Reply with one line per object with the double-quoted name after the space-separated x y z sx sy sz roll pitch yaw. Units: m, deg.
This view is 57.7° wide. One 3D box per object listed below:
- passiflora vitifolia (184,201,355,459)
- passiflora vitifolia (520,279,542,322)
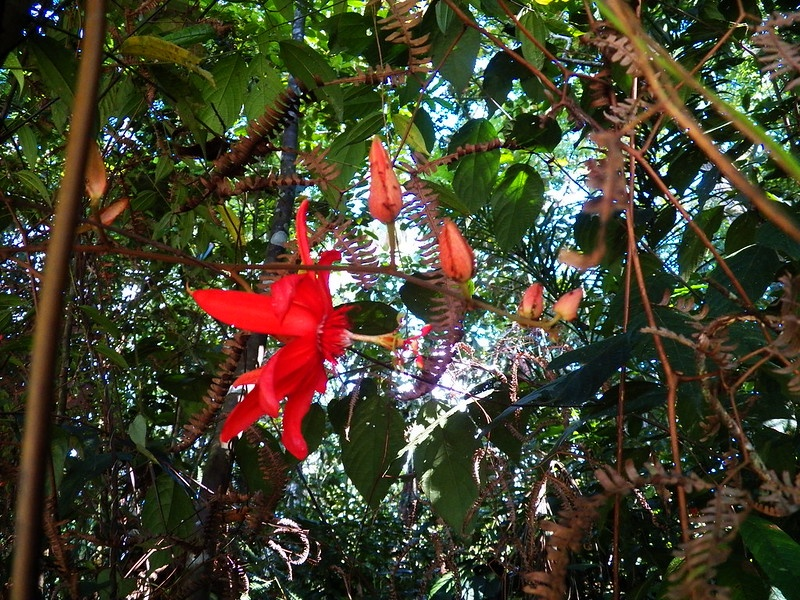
-0.176 0.041 1.062 0.219 0.397 0.247 6 -45 2 "passiflora vitifolia"
0.187 0.001 0.984 0.027 0.050 0.024 7 -23 39 "passiflora vitifolia"
